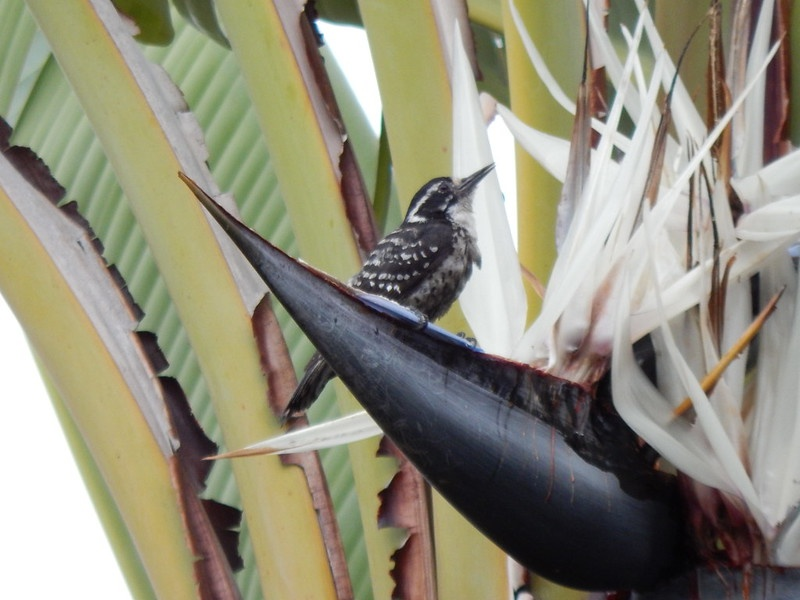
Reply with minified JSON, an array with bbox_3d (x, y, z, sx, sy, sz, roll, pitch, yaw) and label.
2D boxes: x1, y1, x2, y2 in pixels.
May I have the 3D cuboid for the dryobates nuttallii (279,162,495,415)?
[{"bbox_3d":[-0.006,-0.004,2.211,0.291,0.371,0.154,-6,-25,8],"label":"dryobates nuttallii"}]
